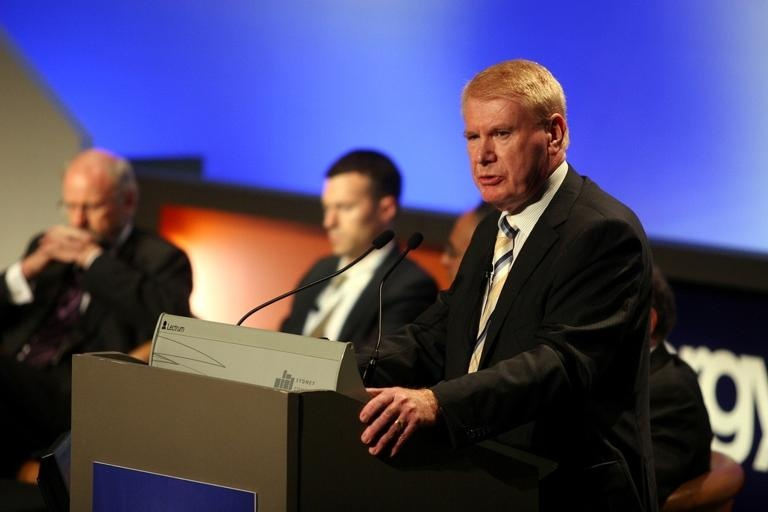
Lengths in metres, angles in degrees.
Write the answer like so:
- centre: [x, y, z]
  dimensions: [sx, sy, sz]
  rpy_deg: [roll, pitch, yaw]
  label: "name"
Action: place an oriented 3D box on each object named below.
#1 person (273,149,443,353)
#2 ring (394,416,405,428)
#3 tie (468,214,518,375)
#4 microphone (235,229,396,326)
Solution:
- centre: [-0.116, 0.059, 4.685]
  dimensions: [0.767, 1.343, 1.427]
  rpy_deg: [3, -3, -21]
  label: "person"
- centre: [0.049, 0.511, 2.271]
  dimensions: [0.022, 0.011, 0.031]
  rpy_deg: [-25, -8, 9]
  label: "ring"
- centre: [0.413, 0.165, 2.785]
  dimensions: [0.089, 0.651, 0.070]
  rpy_deg: [28, -26, -15]
  label: "tie"
- centre: [-0.363, 0.125, 4.428]
  dimensions: [1.142, 0.186, 0.079]
  rpy_deg: [-30, -39, 31]
  label: "microphone"
